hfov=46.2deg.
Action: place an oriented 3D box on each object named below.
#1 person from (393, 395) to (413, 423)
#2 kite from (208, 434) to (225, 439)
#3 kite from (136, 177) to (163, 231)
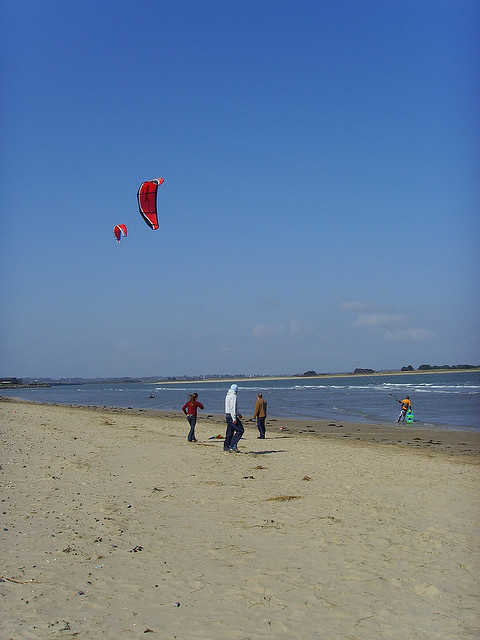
[{"bbox_3d":[9.047,4.949,30.926,0.645,1.434,3.827,2,-5,14],"label":"person"},{"bbox_3d":[-0.834,4.191,20.095,0.526,0.208,0.156,3,-25,0],"label":"kite"},{"bbox_3d":[-2.072,-2.631,12.811,0.484,1.061,0.737,5,-5,-11],"label":"kite"}]
